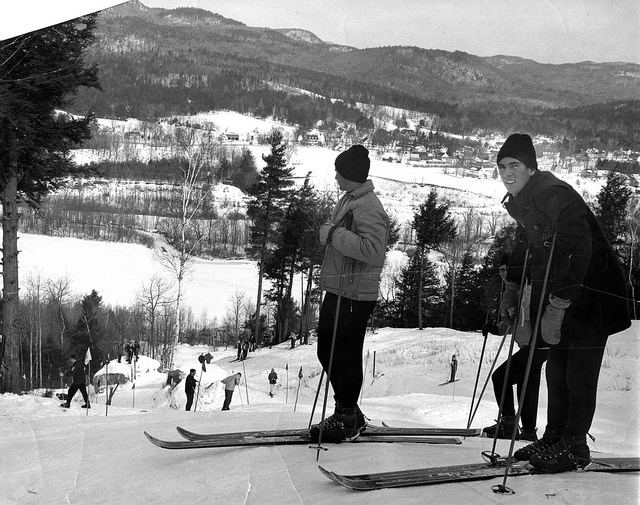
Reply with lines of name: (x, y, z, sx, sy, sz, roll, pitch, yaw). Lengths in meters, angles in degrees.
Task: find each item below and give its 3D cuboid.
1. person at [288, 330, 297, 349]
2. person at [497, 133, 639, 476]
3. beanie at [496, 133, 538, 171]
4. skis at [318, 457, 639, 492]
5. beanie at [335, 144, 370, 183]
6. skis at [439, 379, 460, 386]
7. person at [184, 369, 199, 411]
person: (-1.172, 3.728, 31.690, 0.543, 0.925, 0.308, 1, 20, -1)
person: (1.996, 0.391, 6.057, 0.997, 2.731, 0.798, -3, -3, 15)
beanie: (1.583, -0.826, 6.022, 0.239, 0.287, 0.269, 6, 3, 19)
skis: (1.198, 1.701, 5.895, 2.405, 0.167, 0.298, -2, -4, -9)
beanie: (0.295, -0.788, 6.672, 0.267, 0.289, 0.290, -5, 34, -44)
skis: (2.404, 2.406, 13.812, 0.052, 0.089, 0.740, 1, -13, -16)
person: (-2.475, 2.649, 14.324, 0.204, 0.787, 1.304, -1, -4, -9)
